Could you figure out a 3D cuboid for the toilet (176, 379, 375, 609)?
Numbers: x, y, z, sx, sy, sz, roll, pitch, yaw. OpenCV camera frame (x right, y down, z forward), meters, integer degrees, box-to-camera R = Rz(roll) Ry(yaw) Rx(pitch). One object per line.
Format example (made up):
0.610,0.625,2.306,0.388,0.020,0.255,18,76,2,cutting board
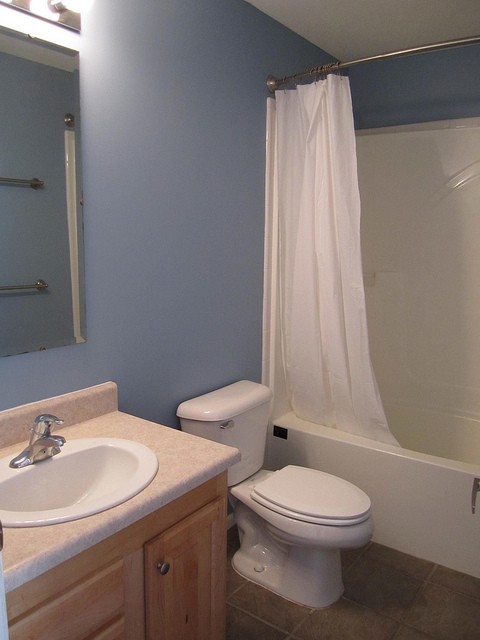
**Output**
0.150,0.654,1.931,0.705,0.711,0.401,3,7,24,toilet
